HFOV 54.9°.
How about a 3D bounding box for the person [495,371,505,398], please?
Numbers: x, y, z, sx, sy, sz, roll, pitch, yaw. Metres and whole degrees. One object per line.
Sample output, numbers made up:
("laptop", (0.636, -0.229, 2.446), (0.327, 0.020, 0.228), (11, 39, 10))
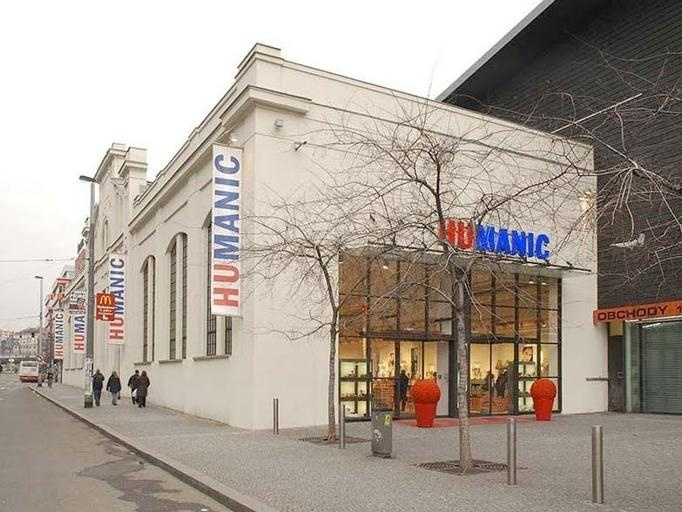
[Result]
("person", (6.387, 5.134, 26.201), (0.467, 1.017, 0.152), (8, -14, -34))

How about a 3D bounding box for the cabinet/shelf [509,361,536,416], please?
("cabinet/shelf", (7.231, 5.386, 26.820), (0.621, 2.096, 1.068), (-5, -13, 40))

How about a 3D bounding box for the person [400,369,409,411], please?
("person", (2.383, 5.001, 24.333), (0.426, 1.455, 0.146), (8, -14, -36))

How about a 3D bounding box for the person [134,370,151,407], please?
("person", (-8.966, 6.022, 29.637), (0.523, 1.634, 0.920), (3, -12, -17))

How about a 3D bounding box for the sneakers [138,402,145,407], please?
("sneakers", (-8.970, 6.729, 29.540), (0.167, 0.337, 0.301), (-3, -14, 10))

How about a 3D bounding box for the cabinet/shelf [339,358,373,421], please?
("cabinet/shelf", (0.511, 4.742, 23.419), (1.071, 2.162, 0.690), (0, -5, 3))
